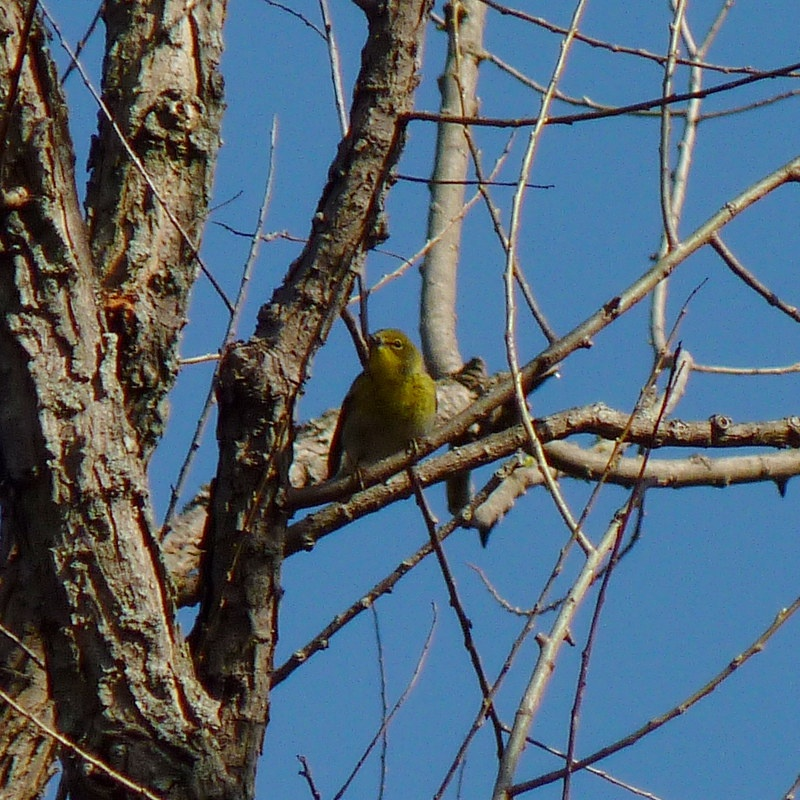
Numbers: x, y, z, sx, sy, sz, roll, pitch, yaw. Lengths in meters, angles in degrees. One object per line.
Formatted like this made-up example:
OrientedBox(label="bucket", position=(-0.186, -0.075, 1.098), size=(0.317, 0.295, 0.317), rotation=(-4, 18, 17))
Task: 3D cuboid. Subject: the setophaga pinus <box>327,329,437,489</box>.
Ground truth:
OrientedBox(label="setophaga pinus", position=(-0.050, 0.033, 8.624), size=(0.271, 0.416, 0.918), rotation=(7, -46, 0))
